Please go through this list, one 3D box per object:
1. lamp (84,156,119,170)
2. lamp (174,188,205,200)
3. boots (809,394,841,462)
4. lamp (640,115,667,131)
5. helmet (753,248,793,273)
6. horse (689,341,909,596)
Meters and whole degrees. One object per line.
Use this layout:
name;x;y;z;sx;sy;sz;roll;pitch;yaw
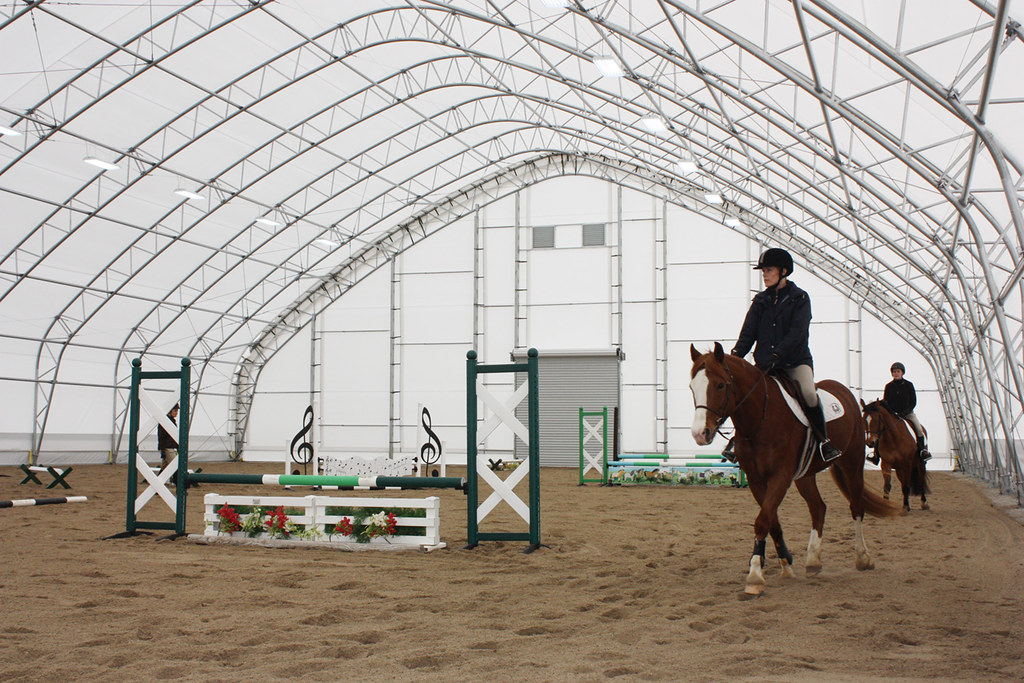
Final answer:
lamp;-11.927;-5.141;30.868;0.953;0.363;1.448;-4;11;-22
lamp;-10.269;-4.611;33.660;0.785;0.404;1.334;-1;10;-7
boots;4.970;1.290;16.935;0.464;1.096;0.276;11;-30;-28
lamp;4.424;-6.642;32.522;0.697;0.515;2.440;1;10;8
helmet;4.246;-1.330;17.012;0.498;0.354;0.372;4;-9;-8
horse;4.388;1.900;16.833;3.657;3.924;1.046;-5;10;-26
